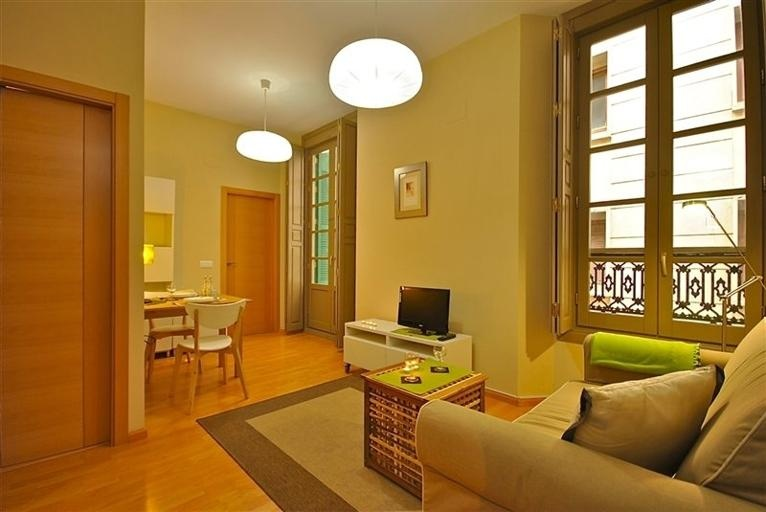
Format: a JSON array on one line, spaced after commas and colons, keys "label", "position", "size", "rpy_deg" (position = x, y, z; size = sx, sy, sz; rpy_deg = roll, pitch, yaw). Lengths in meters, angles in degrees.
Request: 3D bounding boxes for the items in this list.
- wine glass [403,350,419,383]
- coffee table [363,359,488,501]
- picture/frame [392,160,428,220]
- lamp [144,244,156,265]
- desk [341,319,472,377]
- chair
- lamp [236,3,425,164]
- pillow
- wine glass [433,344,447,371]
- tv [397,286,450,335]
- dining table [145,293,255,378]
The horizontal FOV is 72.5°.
[{"label": "wine glass", "position": [0.251, 0.939, 4.420], "size": [0.131, 0.159, 0.436], "rpy_deg": [1, 3, 6]}, {"label": "coffee table", "position": [0.318, 1.404, 4.251], "size": [0.861, 0.682, 0.855], "rpy_deg": [12, -12, -32]}, {"label": "picture/frame", "position": [0.332, -0.729, 5.788], "size": [0.056, 0.756, 0.680], "rpy_deg": [3, -4, -43]}, {"label": "lamp", "position": [-2.789, -0.014, 6.243], "size": [0.069, 0.242, 0.174], "rpy_deg": [-2, -1, 5]}, {"label": "desk", "position": [0.163, 1.019, 5.585], "size": [1.207, 0.468, 0.425], "rpy_deg": [6, 9, 35]}, {"label": "chair", "position": [-2.005, 0.935, 5.573], "size": [0.968, 0.976, 1.551], "rpy_deg": [-1, -2, -24]}, {"label": "lamp", "position": [-0.650, -1.500, 5.133], "size": [2.322, 0.887, 0.948], "rpy_deg": [-23, -36, 27]}, {"label": "pillow", "position": [1.613, 1.056, 3.508], "size": [1.021, 0.579, 0.932], "rpy_deg": [-1, -16, -29]}, {"label": "wine glass", "position": [0.491, 0.866, 4.399], "size": [0.170, 0.226, 0.167], "rpy_deg": [0, -8, -1]}, {"label": "tv", "position": [0.420, 0.566, 5.488], "size": [0.665, 0.460, 0.144], "rpy_deg": [9, -5, -30]}, {"label": "dining table", "position": [-2.046, 0.706, 5.588], "size": [1.045, 0.629, 1.028], "rpy_deg": [3, -5, -39]}]
